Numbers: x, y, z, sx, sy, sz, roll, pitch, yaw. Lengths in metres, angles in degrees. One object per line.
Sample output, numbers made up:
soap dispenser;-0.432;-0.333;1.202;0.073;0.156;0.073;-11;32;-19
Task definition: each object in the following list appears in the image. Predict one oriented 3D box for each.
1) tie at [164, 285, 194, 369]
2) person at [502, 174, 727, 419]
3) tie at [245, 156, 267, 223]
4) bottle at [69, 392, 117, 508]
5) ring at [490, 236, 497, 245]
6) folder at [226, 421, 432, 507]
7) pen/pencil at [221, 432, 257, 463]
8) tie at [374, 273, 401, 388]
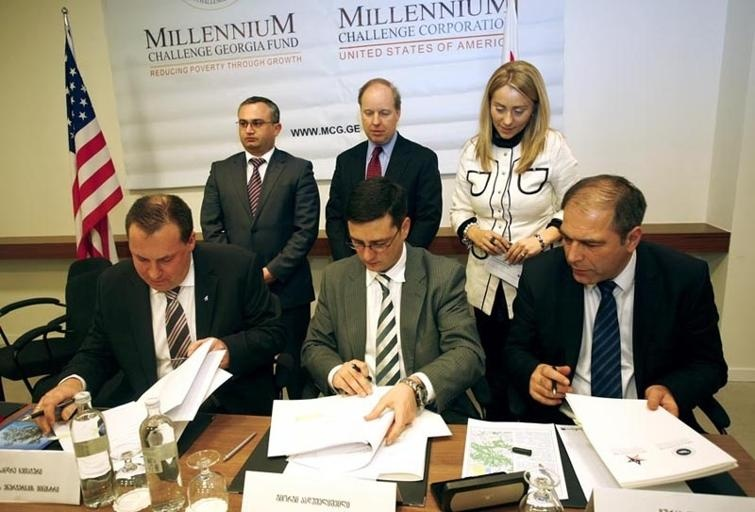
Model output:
tie;-1.085;0.391;3.234;0.124;0.410;0.144;-11;15;-25
person;1.182;0.234;2.985;1.070;1.248;0.572;-2;13;12
tie;-0.892;-0.484;4.362;0.085;0.501;0.055;2;-20;5
bottle;-1.212;0.822;2.532;0.148;0.484;0.136;-4;13;1
ring;0.721;-0.097;3.692;0.026;0.047;0.011;4;-16;26
folder;-0.197;0.937;2.650;0.867;0.191;0.305;-3;13;7
pen/pencil;-0.636;0.885;2.743;0.019;0.020;0.180;9;27;27
tie;0.047;0.401;3.169;0.126;0.683;0.072;-2;25;-2
